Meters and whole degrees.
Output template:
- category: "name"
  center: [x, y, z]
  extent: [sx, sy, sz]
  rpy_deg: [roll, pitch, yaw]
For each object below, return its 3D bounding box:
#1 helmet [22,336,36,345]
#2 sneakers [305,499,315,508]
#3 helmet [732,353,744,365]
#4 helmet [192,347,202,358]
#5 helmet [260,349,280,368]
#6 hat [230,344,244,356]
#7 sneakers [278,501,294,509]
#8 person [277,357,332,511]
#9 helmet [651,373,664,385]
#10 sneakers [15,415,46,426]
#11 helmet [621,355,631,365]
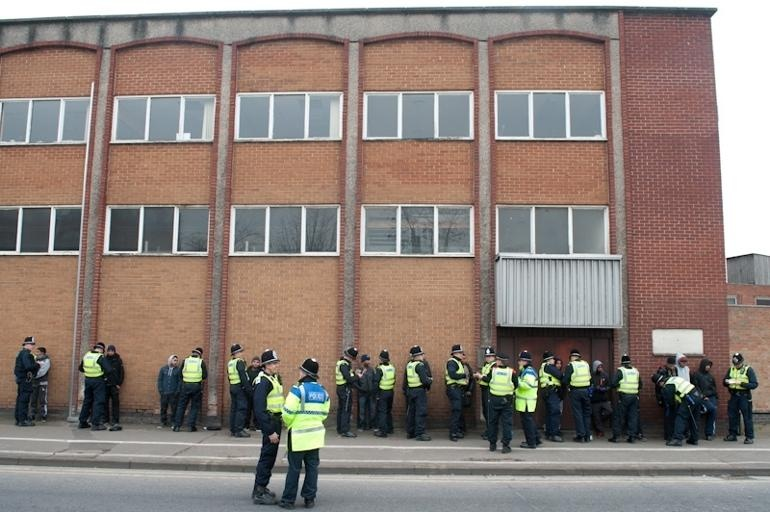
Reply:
- category: "helmet"
  center: [-11.358, 2.699, 37.007]
  extent: [0.386, 0.244, 0.320]
  rpy_deg: [-1, -4, 14]
- category: "sneakers"
  center: [-1.935, 6.395, 30.055]
  extent: [0.258, 0.212, 0.162]
  rpy_deg: [1, -8, -8]
- category: "helmet"
  center: [10.939, 3.244, 36.276]
  extent: [0.366, 0.348, 0.430]
  rpy_deg: [-5, -12, 28]
- category: "helmet"
  center: [-5.937, 3.073, 36.977]
  extent: [0.282, 0.277, 0.334]
  rpy_deg: [6, -17, -2]
- category: "helmet"
  center: [-3.103, 2.694, 30.559]
  extent: [0.602, 0.321, 0.437]
  rpy_deg: [-6, -1, 6]
- category: "hat"
  center: [-4.493, 2.886, 35.736]
  extent: [0.402, 0.239, 0.420]
  rpy_deg: [-1, 2, 34]
- category: "sneakers"
  center: [-2.499, 6.425, 29.922]
  extent: [0.180, 0.136, 0.348]
  rpy_deg: [3, 0, -38]
- category: "person"
  center: [-2.090, 4.620, 30.359]
  extent: [1.174, 3.863, 1.130]
  rpy_deg: [0, -8, -4]
- category: "helmet"
  center: [8.400, 3.805, 35.907]
  extent: [0.365, 0.312, 0.284]
  rpy_deg: [-45, 8, 24]
- category: "sneakers"
  center: [-11.337, 5.273, 36.900]
  extent: [0.715, 0.238, 0.275]
  rpy_deg: [0, -4, -13]
- category: "helmet"
  center: [7.438, 3.195, 35.760]
  extent: [0.330, 0.243, 0.269]
  rpy_deg: [-3, 3, -15]
